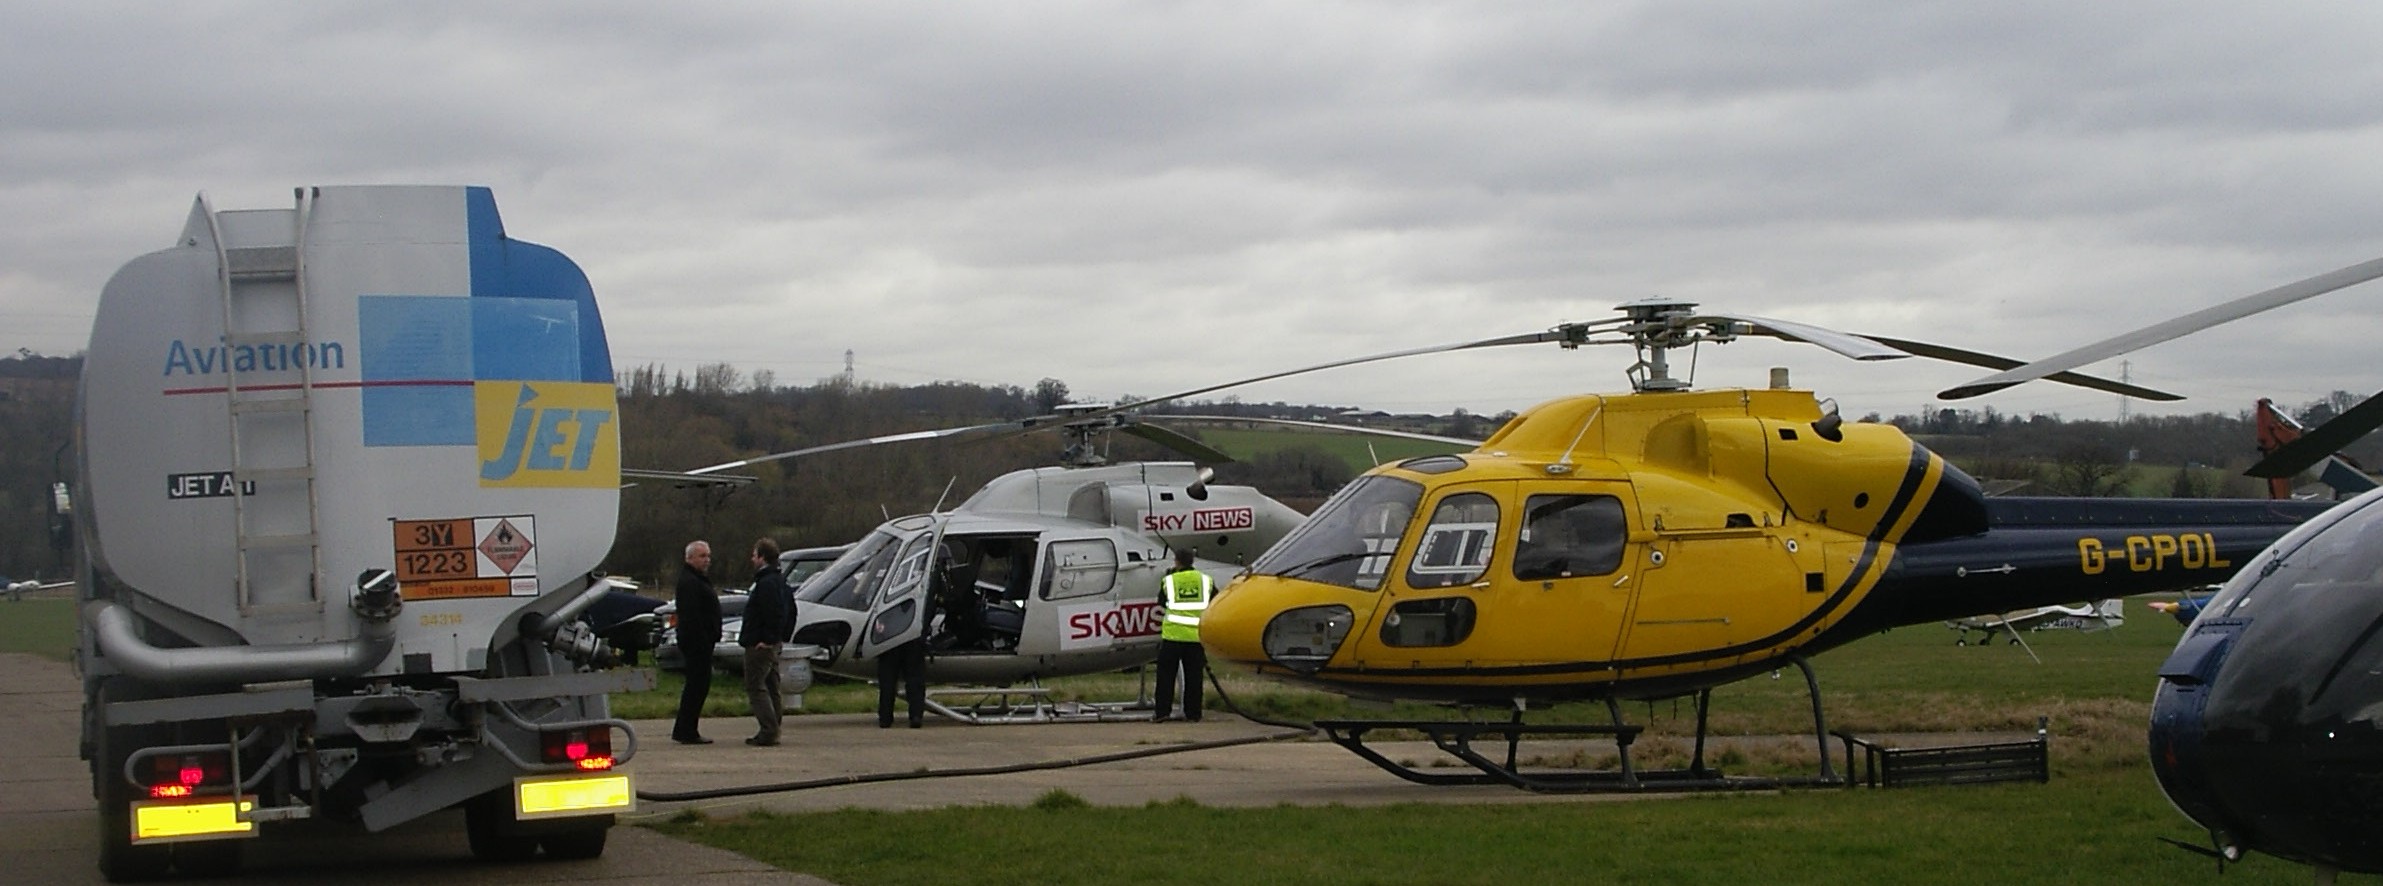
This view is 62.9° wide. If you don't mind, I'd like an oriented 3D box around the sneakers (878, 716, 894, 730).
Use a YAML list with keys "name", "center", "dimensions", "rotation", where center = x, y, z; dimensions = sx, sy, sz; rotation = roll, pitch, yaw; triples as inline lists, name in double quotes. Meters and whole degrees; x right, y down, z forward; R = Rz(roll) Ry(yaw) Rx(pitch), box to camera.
- name: "sneakers"
  center: [-5.139, 4.690, 32.457]
  dimensions: [0.205, 0.125, 0.191]
  rotation: [3, -1, -40]

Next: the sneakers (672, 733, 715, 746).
- name: "sneakers"
  center: [-7.959, 4.647, 30.679]
  dimensions: [0.835, 0.216, 0.209]
  rotation: [0, 3, -12]

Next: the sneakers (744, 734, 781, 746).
- name: "sneakers"
  center: [-6.744, 4.689, 30.657]
  dimensions: [0.677, 0.166, 0.176]
  rotation: [3, -2, 11]
